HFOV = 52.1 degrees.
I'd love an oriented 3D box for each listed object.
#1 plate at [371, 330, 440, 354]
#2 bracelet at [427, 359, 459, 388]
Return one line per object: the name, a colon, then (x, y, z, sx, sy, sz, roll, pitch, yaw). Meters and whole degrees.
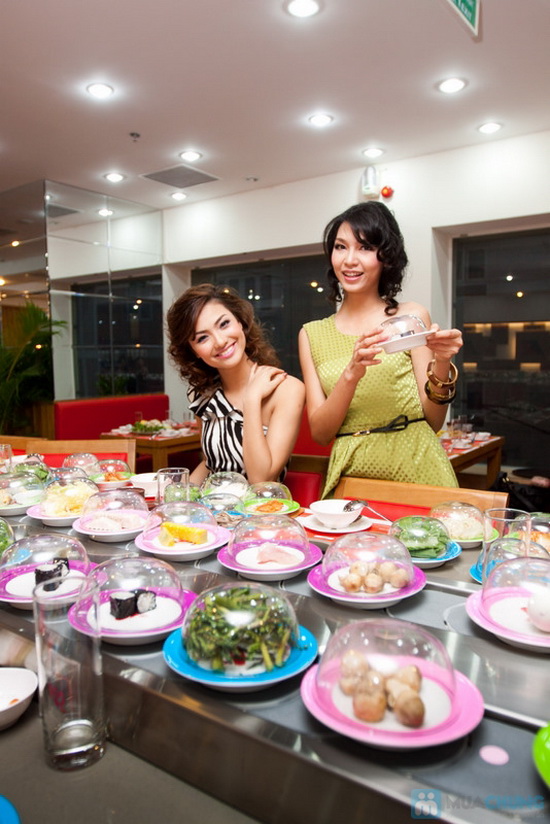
plate: (0.327, -0.172, 1.391, 0.143, 0.054, 0.122, -3, 8, -1)
bracelet: (0.495, -0.106, 1.667, 0.081, 0.081, 0.026, -17, -2, -10)
